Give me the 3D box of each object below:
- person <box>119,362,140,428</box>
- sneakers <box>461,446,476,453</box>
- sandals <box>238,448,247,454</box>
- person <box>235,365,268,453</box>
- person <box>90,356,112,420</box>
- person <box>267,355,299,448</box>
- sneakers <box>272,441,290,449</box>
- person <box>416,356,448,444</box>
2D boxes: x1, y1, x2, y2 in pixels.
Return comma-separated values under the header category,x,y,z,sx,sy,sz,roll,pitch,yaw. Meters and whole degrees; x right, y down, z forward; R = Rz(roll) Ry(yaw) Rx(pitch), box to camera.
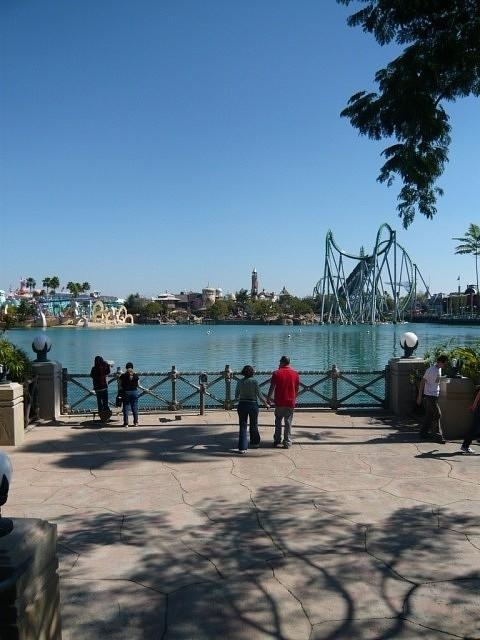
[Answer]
category,x,y,z,sx,sy,sz,roll,pitch,yaw
person,-2.244,1.530,10.880,0.405,1.290,1.129,0,-2,-12
sneakers,3.606,2.070,8.448,0.271,0.117,0.104,-2,4,-28
sandals,0.047,2.094,8.506,0.156,0.051,0.230,0,-2,-5
person,0.178,1.459,9.120,0.487,1.381,1.404,0,-2,-1
person,-3.045,1.480,11.719,0.447,1.344,1.579,1,-2,-16
person,0.780,1.412,9.614,0.514,1.512,1.577,0,-2,5
sneakers,0.677,2.097,8.956,0.361,0.095,0.215,-1,-3,28
person,3.385,1.367,9.510,0.452,1.485,1.387,-1,-2,19
